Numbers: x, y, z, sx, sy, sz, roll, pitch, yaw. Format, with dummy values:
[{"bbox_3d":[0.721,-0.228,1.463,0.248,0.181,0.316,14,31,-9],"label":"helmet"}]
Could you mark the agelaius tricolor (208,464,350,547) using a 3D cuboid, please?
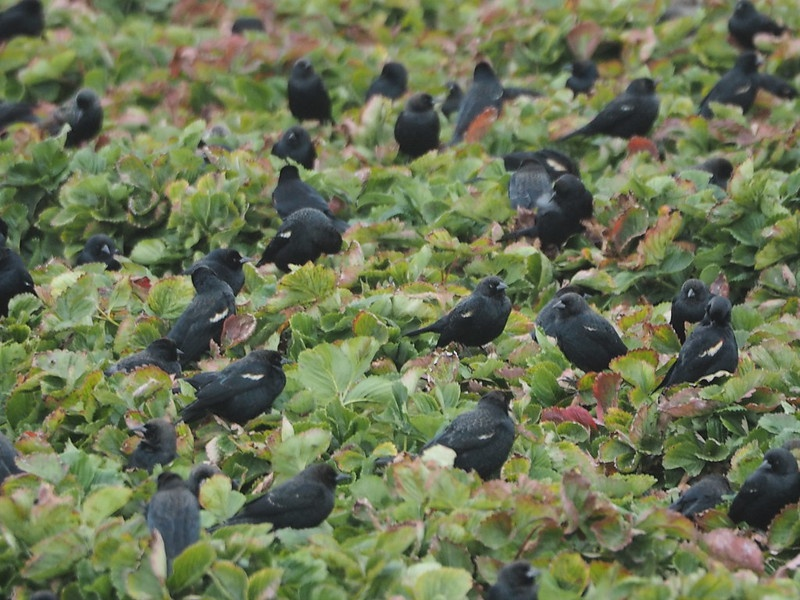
[{"bbox_3d":[-0.697,1.242,7.835,1.033,0.499,0.340,-9,14,-7],"label":"agelaius tricolor"}]
